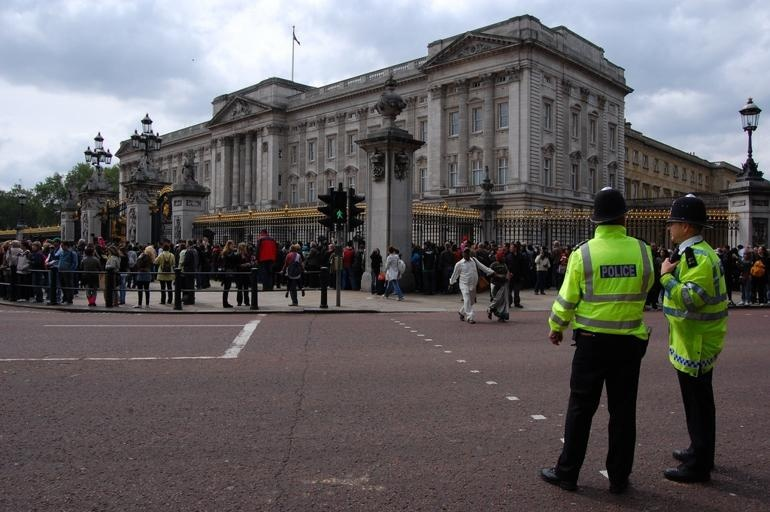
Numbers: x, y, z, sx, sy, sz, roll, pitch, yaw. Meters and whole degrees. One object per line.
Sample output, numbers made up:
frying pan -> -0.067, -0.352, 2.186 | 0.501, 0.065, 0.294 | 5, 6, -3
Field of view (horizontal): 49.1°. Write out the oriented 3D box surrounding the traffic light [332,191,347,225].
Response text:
traffic light -> -1.119, -1.228, 21.331 | 0.330, 0.819, 0.144 | -3, 7, -37

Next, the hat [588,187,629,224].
hat -> 2.700, -0.646, 10.269 | 0.551, 0.334, 0.513 | -8, 9, 31

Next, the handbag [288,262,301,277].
handbag -> -2.335, 0.355, 21.987 | 0.464, 0.405, 0.165 | -4, 7, -39

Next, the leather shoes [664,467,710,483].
leather shoes -> 3.555, 2.610, 10.130 | 0.531, 0.212, 0.194 | -3, -1, 0

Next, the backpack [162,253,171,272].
backpack -> -5.706, 0.138, 22.260 | 0.182, 0.498, 0.325 | 5, 7, 31

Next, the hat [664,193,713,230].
hat -> 3.719, -0.566, 10.513 | 0.595, 0.411, 0.606 | 5, 2, -17

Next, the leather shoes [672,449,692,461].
leather shoes -> 3.573, 2.426, 10.256 | 0.093, 0.109, 0.255 | -6, -1, -12

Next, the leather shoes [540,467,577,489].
leather shoes -> 2.013, 2.637, 10.006 | 0.395, 0.179, 0.183 | 20, 18, 38

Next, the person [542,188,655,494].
person -> 2.517, 0.971, 10.044 | 1.143, 3.536, 0.752 | 2, 6, 13
